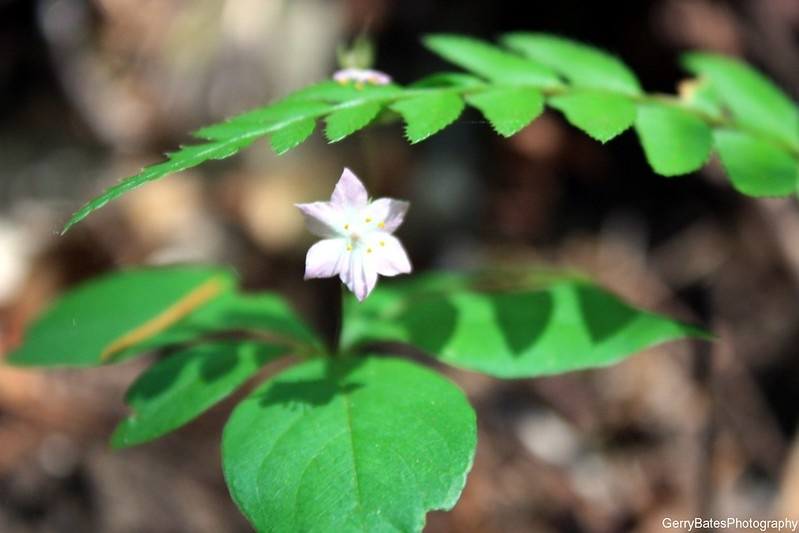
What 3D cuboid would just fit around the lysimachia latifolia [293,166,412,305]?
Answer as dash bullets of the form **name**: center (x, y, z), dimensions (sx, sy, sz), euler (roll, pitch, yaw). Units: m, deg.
- **lysimachia latifolia**: center (-0.172, -0.127, 2.859), dimensions (0.415, 0.384, 0.344), euler (-2, 35, -1)
